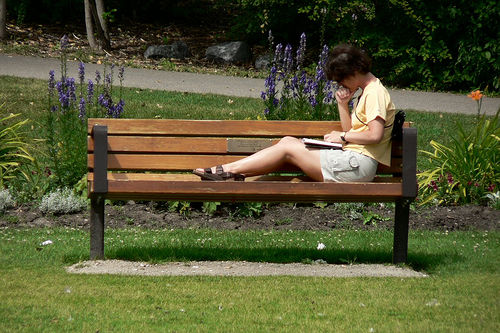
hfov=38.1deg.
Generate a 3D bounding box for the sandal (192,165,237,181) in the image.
[{"bbox_3d":[-0.493,0.139,10.300,0.625,0.198,0.227,7,-5,-10],"label":"sandal"}]
